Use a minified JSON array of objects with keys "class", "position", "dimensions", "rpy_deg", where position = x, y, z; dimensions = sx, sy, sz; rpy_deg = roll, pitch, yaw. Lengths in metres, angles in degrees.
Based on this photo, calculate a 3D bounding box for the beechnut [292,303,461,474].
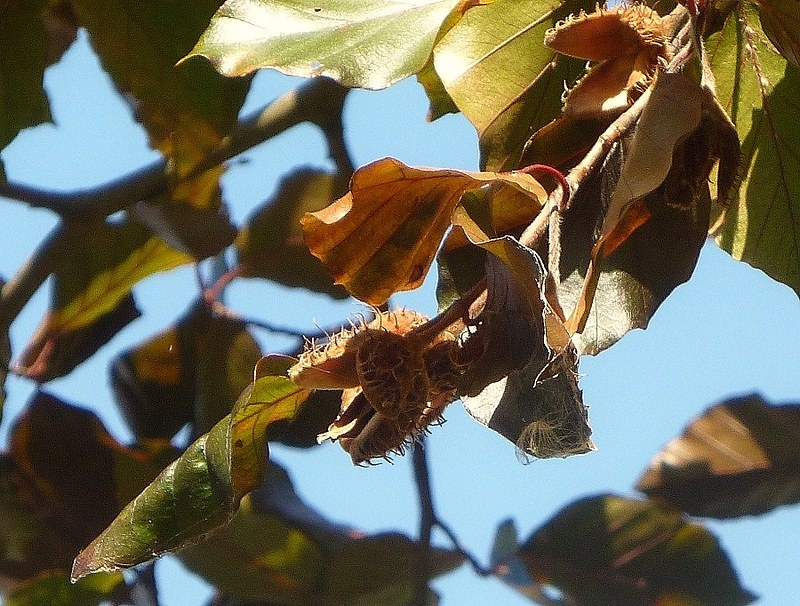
[{"class":"beechnut","position":[-0.017,0.080,1.360],"dimensions":[0.126,0.065,0.118],"rpy_deg":[-42,74,7]}]

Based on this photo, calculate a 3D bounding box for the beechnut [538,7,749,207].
[{"class":"beechnut","position":[0.183,-0.172,1.309],"dimensions":[0.145,0.187,0.079],"rpy_deg":[5,12,39]}]
